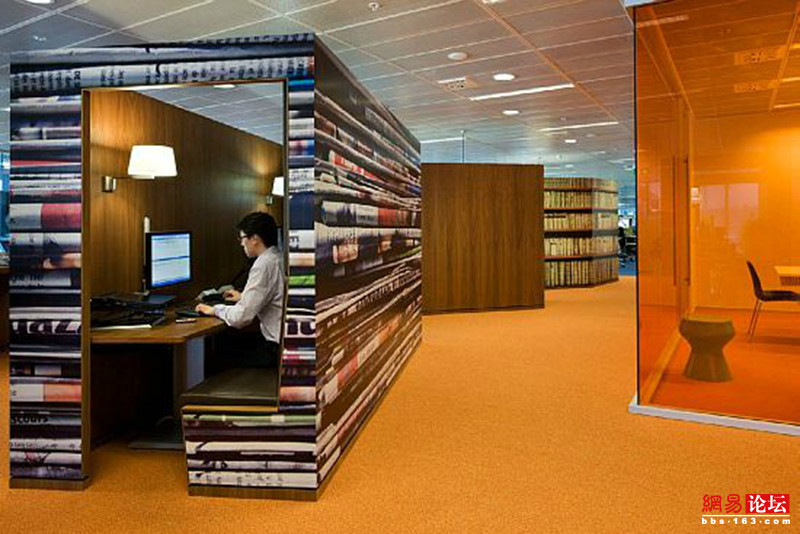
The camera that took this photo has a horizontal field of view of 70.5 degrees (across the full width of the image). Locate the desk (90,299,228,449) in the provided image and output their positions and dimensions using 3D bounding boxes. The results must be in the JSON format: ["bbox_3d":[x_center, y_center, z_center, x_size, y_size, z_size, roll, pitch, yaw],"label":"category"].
[{"bbox_3d":[-2.137,1.020,5.020,0.932,0.938,1.547,-6,-3,3],"label":"desk"}]

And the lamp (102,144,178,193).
[{"bbox_3d":[-2.292,-0.875,5.084,0.620,0.331,0.361,-1,0,13],"label":"lamp"}]

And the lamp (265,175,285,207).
[{"bbox_3d":[-1.758,-1.062,7.917,0.224,0.385,0.435,-2,11,-4],"label":"lamp"}]

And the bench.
[{"bbox_3d":[-1.340,1.023,4.555,0.754,0.155,0.972,3,-5,-15],"label":"bench"}]

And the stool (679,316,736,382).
[{"bbox_3d":[2.851,0.769,5.252,0.514,0.524,0.513,-3,-5,41],"label":"stool"}]
